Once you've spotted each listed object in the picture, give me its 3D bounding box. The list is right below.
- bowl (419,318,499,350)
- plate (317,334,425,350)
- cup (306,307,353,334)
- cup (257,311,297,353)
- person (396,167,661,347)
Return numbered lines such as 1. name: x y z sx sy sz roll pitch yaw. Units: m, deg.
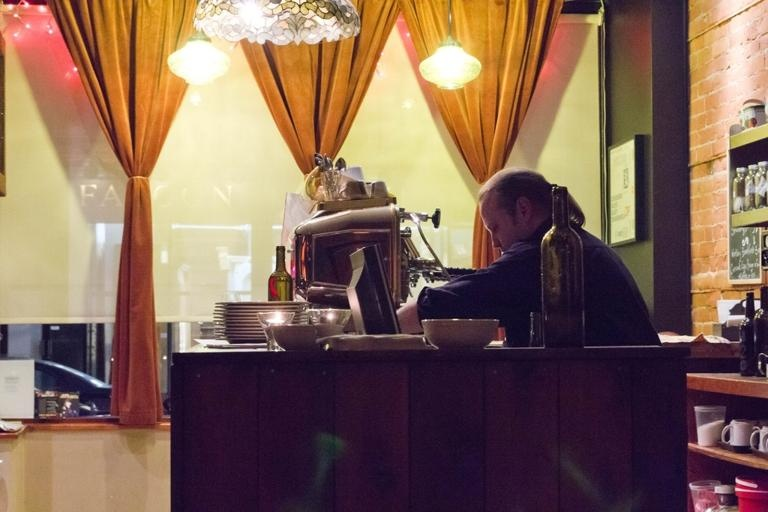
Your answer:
1. bowl: 0.280 0.287 2.774 0.270 0.106 0.052 -2 -8 -4
2. plate: -0.034 0.319 2.749 0.366 0.064 0.053 -2 -9 -4
3. cup: -0.206 0.247 2.871 0.121 0.090 0.102 1 -4 -2
4. cup: -0.420 0.293 2.865 0.138 0.148 0.138 0 -4 0
5. person: 0.669 0.017 3.467 1.042 1.117 0.683 -4 -11 22
